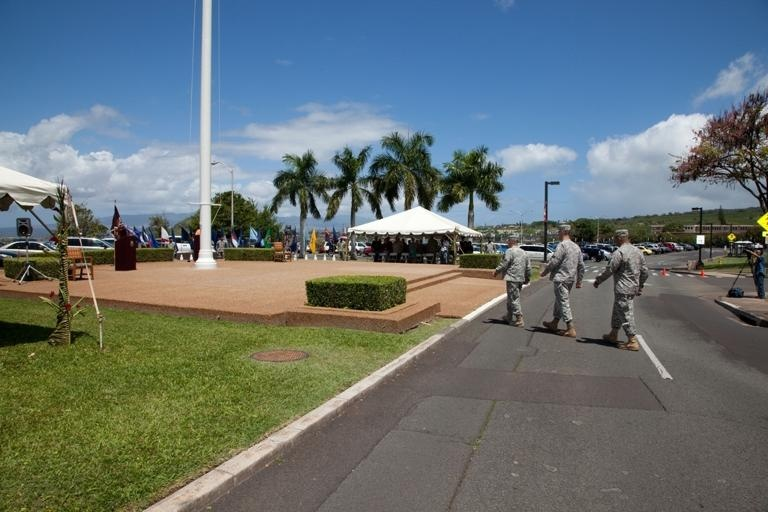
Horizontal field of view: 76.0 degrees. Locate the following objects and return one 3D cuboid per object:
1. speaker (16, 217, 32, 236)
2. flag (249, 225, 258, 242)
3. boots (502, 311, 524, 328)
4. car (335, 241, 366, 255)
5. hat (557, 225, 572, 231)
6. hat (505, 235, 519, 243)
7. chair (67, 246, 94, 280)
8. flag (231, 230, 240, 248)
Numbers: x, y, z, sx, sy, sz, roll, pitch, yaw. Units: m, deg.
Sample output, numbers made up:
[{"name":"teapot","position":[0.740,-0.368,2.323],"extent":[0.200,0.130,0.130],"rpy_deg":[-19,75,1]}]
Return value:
[{"name":"speaker","position":[-15.598,-1.186,21.302],"extent":[0.518,0.766,0.972],"rpy_deg":[-7,14,-36]},{"name":"flag","position":[-10.873,-1.588,41.114],"extent":[0.434,1.573,5.156],"rpy_deg":[-2,12,-17]},{"name":"boots","position":[3.313,1.620,12.444],"extent":[0.526,0.535,0.281],"rpy_deg":[2,3,33]},{"name":"car","position":[-3.890,-0.852,59.404],"extent":[3.691,1.661,2.336],"rpy_deg":[-2,1,13]},{"name":"hat","position":[4.172,-0.634,11.255],"extent":[0.193,0.112,0.228],"rpy_deg":[-1,-1,23]},{"name":"hat","position":[3.234,-0.384,12.146],"extent":[0.226,0.182,0.208],"rpy_deg":[-2,14,10]},{"name":"chair","position":[-11.377,0.316,18.243],"extent":[0.761,1.028,0.797],"rpy_deg":[1,2,17]},{"name":"flag","position":[-13.007,-1.712,42.957],"extent":[0.658,1.326,8.599],"rpy_deg":[-2,12,-17]}]
